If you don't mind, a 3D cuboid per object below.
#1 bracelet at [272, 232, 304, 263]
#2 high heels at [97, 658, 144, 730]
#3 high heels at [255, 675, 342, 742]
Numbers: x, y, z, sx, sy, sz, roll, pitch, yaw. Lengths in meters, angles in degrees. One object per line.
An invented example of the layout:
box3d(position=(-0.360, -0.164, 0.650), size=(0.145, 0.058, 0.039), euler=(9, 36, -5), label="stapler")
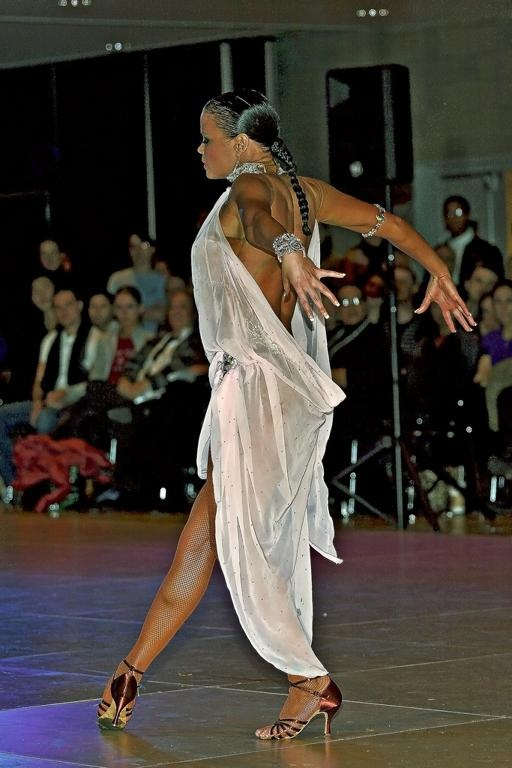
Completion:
box3d(position=(0.057, -0.236, 1.487), size=(0.054, 0.053, 0.018), euler=(-4, -2, 5), label="bracelet")
box3d(position=(-0.303, 0.696, 1.849), size=(0.078, 0.155, 0.060), euler=(16, 0, 4), label="high heels")
box3d(position=(0.105, 0.709, 1.819), size=(0.231, 0.141, 0.093), euler=(1, -10, -8), label="high heels")
